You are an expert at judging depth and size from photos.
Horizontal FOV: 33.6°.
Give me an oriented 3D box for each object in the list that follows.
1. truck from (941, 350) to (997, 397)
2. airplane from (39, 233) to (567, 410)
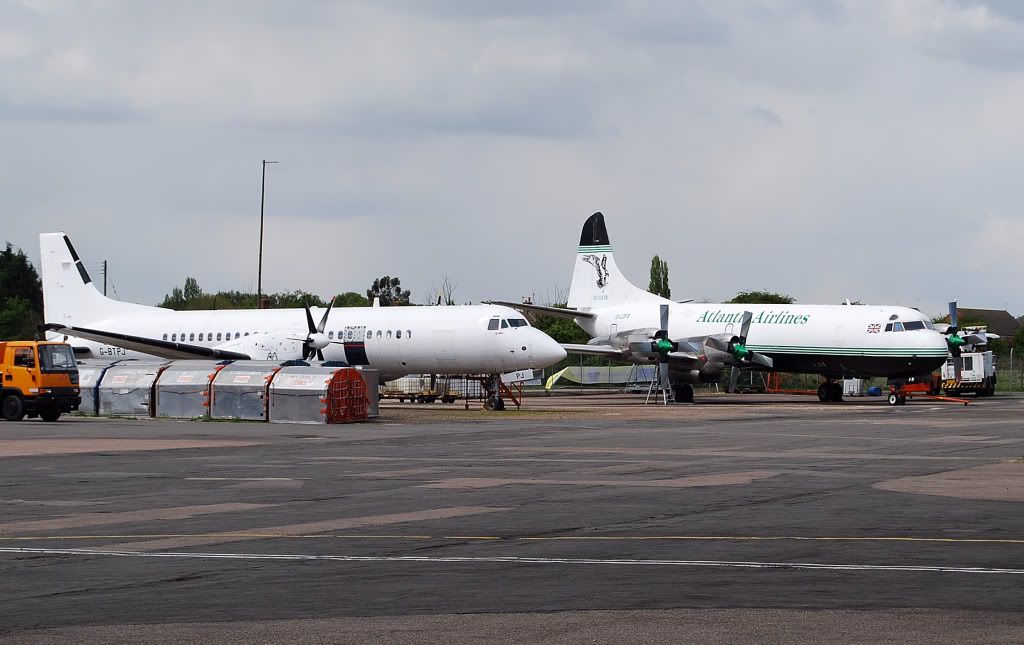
[{"bbox_3d":[21.444,2.427,79.072,2.434,1.293,3.458,1,3,27],"label":"truck"},{"bbox_3d":[-10.918,-0.273,62.465,22.330,6.677,12.859,-2,-3,39],"label":"airplane"}]
